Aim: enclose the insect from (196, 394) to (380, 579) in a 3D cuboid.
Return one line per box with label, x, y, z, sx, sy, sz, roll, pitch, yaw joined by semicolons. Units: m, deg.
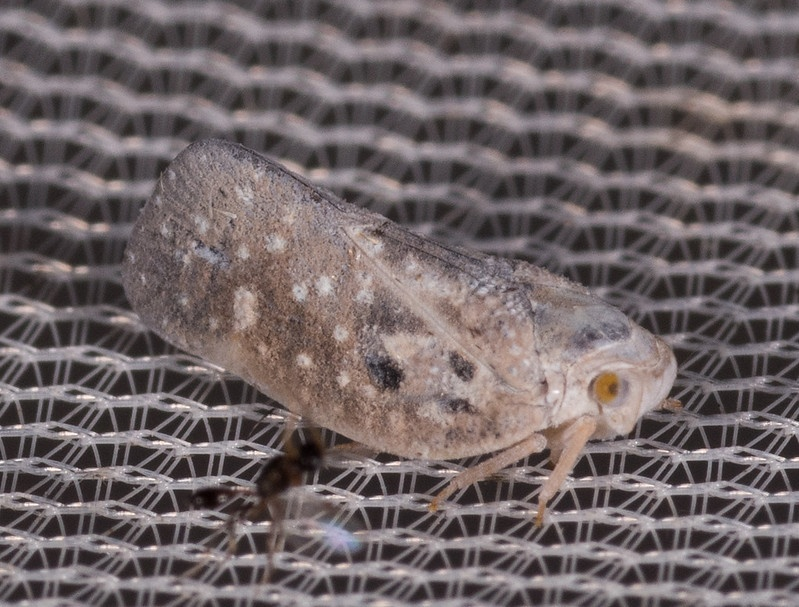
insect;-0.225;0.406;2.479;0.321;0.095;0.309;-29;97;7
